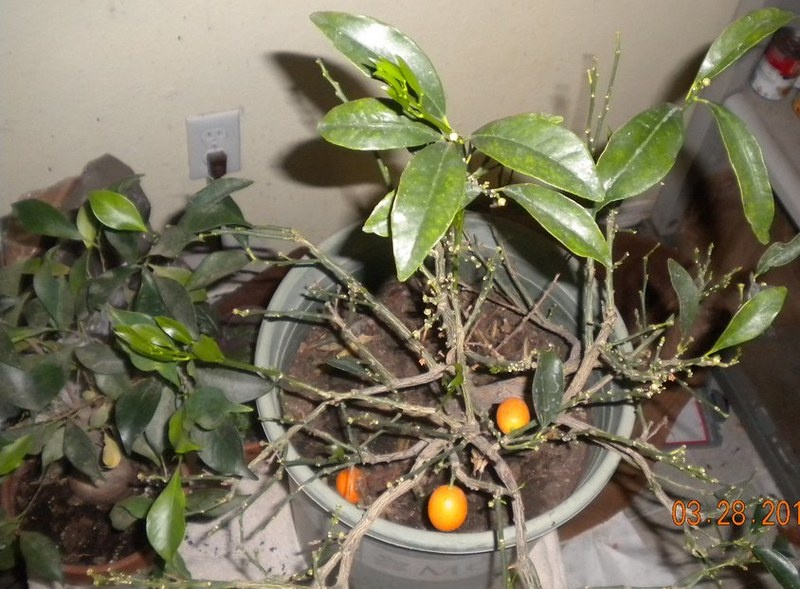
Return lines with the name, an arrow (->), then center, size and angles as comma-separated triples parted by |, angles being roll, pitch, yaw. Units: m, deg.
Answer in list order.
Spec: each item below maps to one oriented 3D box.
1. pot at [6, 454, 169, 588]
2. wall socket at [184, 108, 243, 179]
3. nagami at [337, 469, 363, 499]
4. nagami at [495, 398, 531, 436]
pot -> -0.577, 0.411, 1.172 | 0.275, 0.179, 0.168 | -4, 35, 4
wall socket -> -0.358, -0.281, 1.259 | 0.103, 0.020, 0.145 | -9, 69, -5
nagami -> -0.075, 0.285, 0.970 | 0.034, 0.024, 0.044 | 1, 66, -26
nagami -> 0.158, 0.170, 0.964 | 0.049, 0.061, 0.053 | -16, 86, 2
